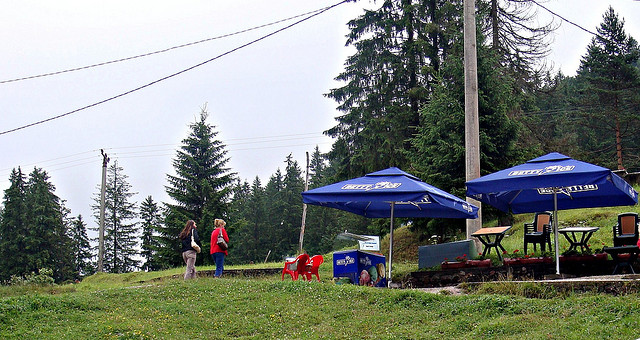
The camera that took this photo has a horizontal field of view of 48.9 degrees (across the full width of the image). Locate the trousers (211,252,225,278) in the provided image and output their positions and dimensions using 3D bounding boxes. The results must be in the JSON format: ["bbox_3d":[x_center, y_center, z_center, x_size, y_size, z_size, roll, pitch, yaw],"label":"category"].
[{"bbox_3d":[-7.097,6.698,48.937,0.891,1.700,1.046,0,-12,-10],"label":"trousers"}]

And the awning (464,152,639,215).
[{"bbox_3d":[15.563,0.877,48.057,10.581,3.705,4.312,-4,-12,9],"label":"awning"}]

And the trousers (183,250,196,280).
[{"bbox_3d":[-9.041,6.657,48.807,0.852,1.995,0.939,-1,-12,-7],"label":"trousers"}]

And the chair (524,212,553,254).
[{"bbox_3d":[15.354,4.461,49.426,1.891,2.620,1.972,-1,2,27],"label":"chair"}]
